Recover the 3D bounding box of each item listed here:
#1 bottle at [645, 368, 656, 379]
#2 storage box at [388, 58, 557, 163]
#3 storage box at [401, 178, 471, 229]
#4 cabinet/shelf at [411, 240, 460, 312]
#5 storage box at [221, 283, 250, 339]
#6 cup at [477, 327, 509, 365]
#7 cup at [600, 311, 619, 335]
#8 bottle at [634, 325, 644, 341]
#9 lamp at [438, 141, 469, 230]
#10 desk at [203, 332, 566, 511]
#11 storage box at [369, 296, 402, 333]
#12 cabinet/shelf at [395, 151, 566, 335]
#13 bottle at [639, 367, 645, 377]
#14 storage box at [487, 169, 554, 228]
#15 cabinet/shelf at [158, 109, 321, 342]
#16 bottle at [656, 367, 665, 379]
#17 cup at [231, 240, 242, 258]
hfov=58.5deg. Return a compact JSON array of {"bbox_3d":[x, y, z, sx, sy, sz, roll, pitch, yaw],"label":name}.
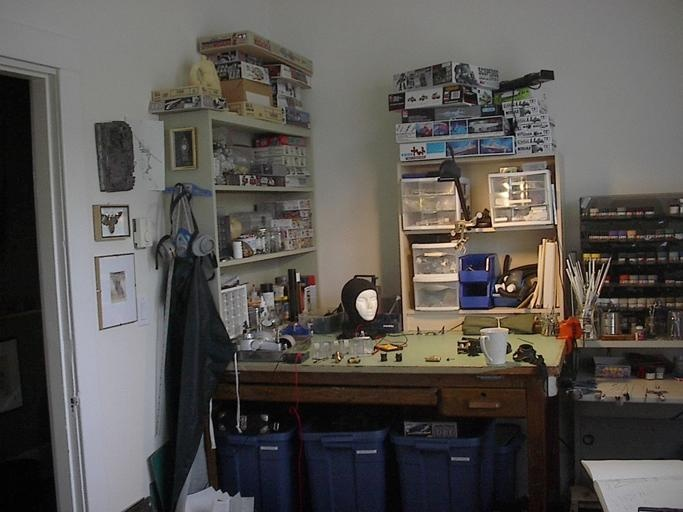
[{"bbox_3d":[1.955,0.747,3.859,0.046,0.042,0.048,-1,0,35],"label":"bottle"},{"bbox_3d":[0.866,-0.938,4.096,0.847,0.459,0.719,-1,4,18],"label":"storage box"},{"bbox_3d":[0.640,-0.373,4.308,0.395,0.356,0.240,0,10,21],"label":"storage box"},{"bbox_3d":[0.685,0.125,4.422,0.387,0.481,0.452,0,8,22],"label":"cabinet/shelf"},{"bbox_3d":[-0.693,0.365,3.971,0.080,0.271,0.268,-1,2,8],"label":"storage box"},{"bbox_3d":[0.885,0.501,3.428,0.214,0.201,0.124,-2,2,-29],"label":"cup"},{"bbox_3d":[1.728,0.432,3.935,0.126,0.149,0.130,-1,0,0],"label":"cup"},{"bbox_3d":[1.895,0.490,3.892,0.074,0.123,0.077,0,2,0],"label":"bottle"},{"bbox_3d":[0.762,-0.494,4.082,0.158,0.519,0.567,-1,2,17],"label":"lamp"},{"bbox_3d":[0.193,0.984,3.624,1.163,0.792,0.567,-1,-4,13],"label":"desk"},{"bbox_3d":[0.297,0.430,4.250,0.197,0.289,0.288,0,0,-10],"label":"storage box"},{"bbox_3d":[0.962,-0.073,4.160,1.144,1.273,0.399,-3,1,14],"label":"cabinet/shelf"},{"bbox_3d":[1.922,0.742,3.903,0.037,0.068,0.015,-1,2,-1],"label":"bottle"},{"bbox_3d":[1.195,-0.375,4.037,0.370,0.364,0.127,-2,0,17],"label":"storage box"},{"bbox_3d":[-0.703,-0.201,4.024,0.463,1.878,1.631,-3,0,17],"label":"cabinet/shelf"},{"bbox_3d":[2.019,0.739,3.870,0.057,0.067,0.030,-3,2,-32],"label":"bottle"},{"bbox_3d":[-0.668,-0.045,3.967,0.044,0.117,0.091,0,3,37],"label":"cup"}]
